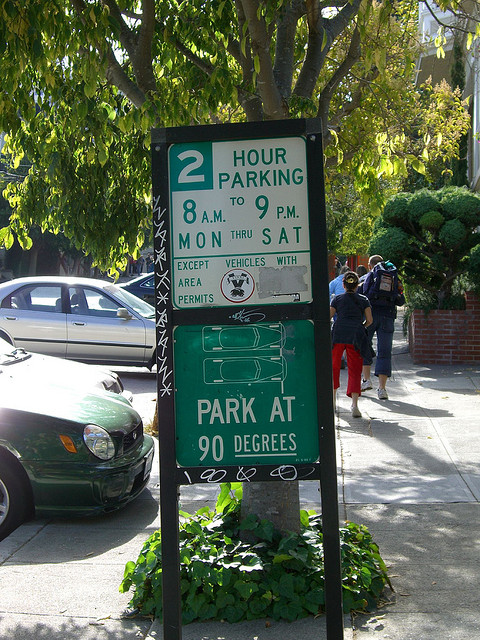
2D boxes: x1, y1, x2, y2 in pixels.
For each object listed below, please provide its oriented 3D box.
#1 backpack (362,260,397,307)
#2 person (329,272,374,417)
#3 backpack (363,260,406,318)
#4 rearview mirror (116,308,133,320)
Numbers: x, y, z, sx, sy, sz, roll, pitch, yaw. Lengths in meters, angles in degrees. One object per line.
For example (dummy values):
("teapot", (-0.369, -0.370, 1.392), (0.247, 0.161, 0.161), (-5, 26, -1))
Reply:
("backpack", (2.025, -0.586, 9.630), (0.474, 0.666, 0.631), (13, 14, -5))
("person", (1.326, 0.302, 7.902), (0.451, 1.807, 0.863), (1, 1, 33))
("backpack", (2.098, -0.456, 9.600), (0.624, 0.861, 0.455), (12, -19, 1))
("rearview mirror", (-1.970, -0.114, 10.699), (0.190, 0.224, 0.166), (-11, -3, 1))
